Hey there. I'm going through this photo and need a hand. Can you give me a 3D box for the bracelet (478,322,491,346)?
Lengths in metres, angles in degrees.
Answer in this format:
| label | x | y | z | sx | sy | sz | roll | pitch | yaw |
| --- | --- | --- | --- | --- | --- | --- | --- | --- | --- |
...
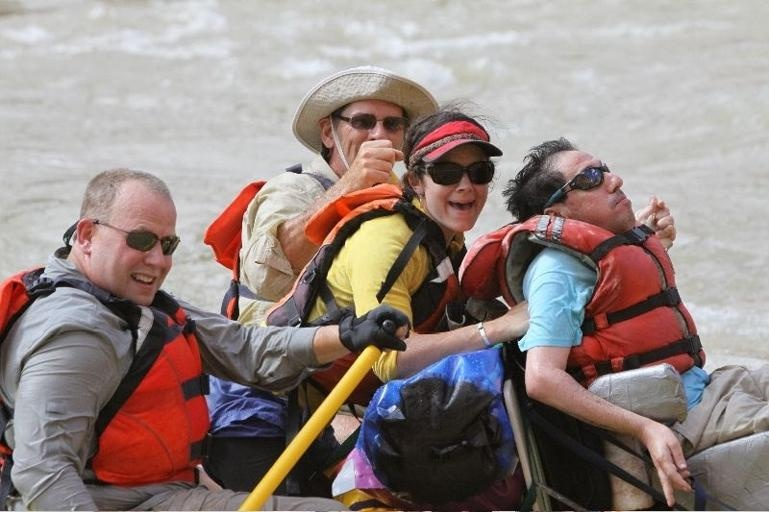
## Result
| label | x | y | z | sx | sy | sz | roll | pitch | yaw |
| --- | --- | --- | --- | --- | --- | --- | --- | --- | --- |
| bracelet | 0.816 | 0.636 | 11.502 | 0.045 | 0.142 | 0.151 | -16 | 3 | -8 |
